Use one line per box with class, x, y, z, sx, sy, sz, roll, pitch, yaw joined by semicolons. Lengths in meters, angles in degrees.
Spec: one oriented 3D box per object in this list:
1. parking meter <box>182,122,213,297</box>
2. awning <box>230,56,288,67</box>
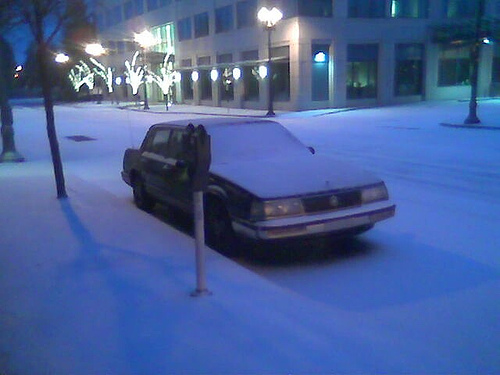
parking meter;-0.497;0.223;3.709;0.238;1.630;0.425;2;-8;-28
awning;0.671;-13.226;38.259;2.071;0.702;7.674;-8;15;-40
